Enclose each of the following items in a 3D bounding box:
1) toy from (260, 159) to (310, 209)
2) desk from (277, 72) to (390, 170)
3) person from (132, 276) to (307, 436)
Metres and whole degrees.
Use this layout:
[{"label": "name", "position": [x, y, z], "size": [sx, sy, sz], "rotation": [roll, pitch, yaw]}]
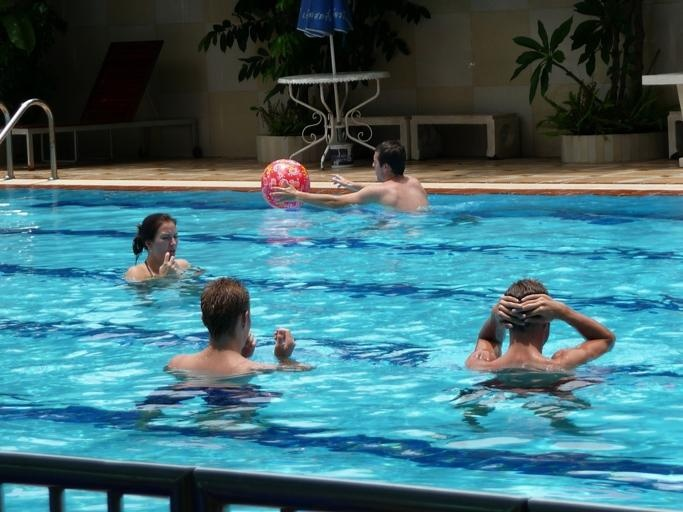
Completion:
[{"label": "toy", "position": [-0.565, -0.698, 7.604], "size": [0.417, 0.509, 0.490], "rotation": [0, 13, 7]}, {"label": "desk", "position": [-0.094, -2.324, 12.380], "size": [1.970, 1.293, 1.910], "rotation": [-14, 20, -41]}, {"label": "person", "position": [-0.652, 0.410, 3.547], "size": [0.611, 0.562, 0.722], "rotation": [1, 13, 13]}]
